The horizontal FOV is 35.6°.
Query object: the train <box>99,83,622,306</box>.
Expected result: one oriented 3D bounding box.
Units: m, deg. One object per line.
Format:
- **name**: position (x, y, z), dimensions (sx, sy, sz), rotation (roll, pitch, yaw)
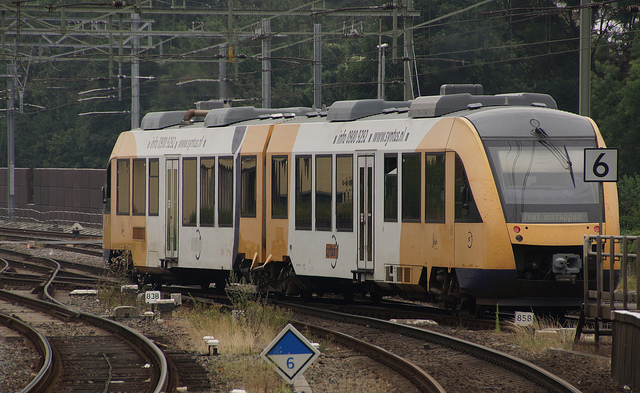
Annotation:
- **train**: position (-0.466, 0.265, 32.612), dimensions (4.750, 6.128, 20.158), rotation (1, -1, -38)
